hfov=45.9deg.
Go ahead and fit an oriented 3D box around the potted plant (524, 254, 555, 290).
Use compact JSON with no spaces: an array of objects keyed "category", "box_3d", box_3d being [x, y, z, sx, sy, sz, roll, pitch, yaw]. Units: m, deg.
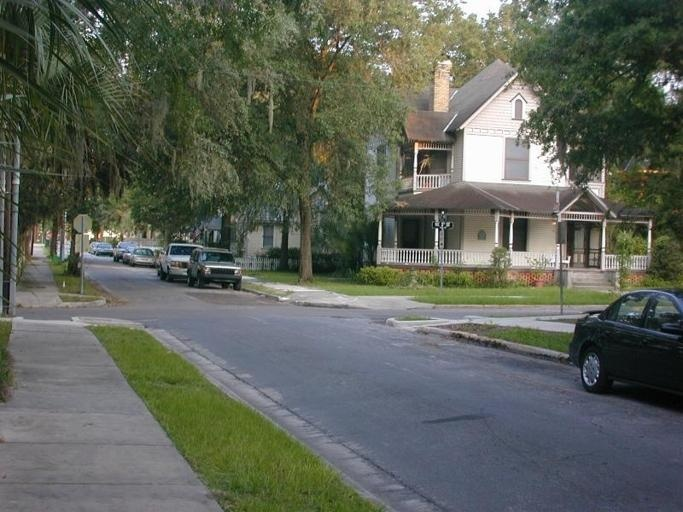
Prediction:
[{"category":"potted plant","box_3d":[10.222,0.753,41.814,1.040,1.689,1.589,2,-1,44]}]
